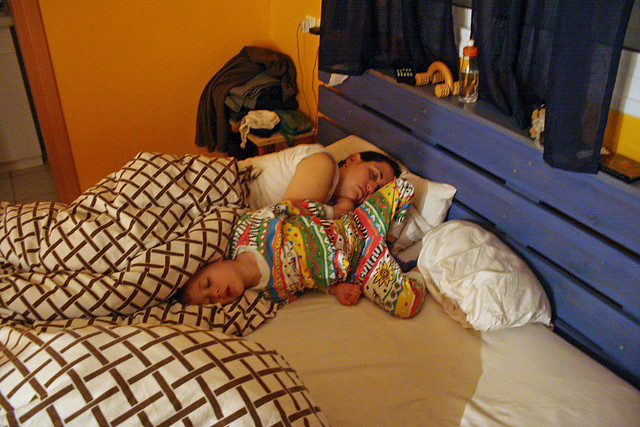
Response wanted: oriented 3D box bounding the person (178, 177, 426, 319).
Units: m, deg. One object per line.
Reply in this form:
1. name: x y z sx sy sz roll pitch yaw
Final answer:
1. person: -0.024 0.145 2.028 0.843 0.264 0.565 -1 51 -10

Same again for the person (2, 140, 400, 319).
1. person: -0.454 0.201 2.250 1.689 0.352 0.792 -12 49 -24

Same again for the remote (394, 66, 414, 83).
1. remote: 0.441 -0.726 2.439 0.100 0.072 0.148 4 27 7

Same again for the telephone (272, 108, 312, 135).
1. telephone: -0.195 -0.633 3.162 0.196 0.064 0.197 -22 51 -30
